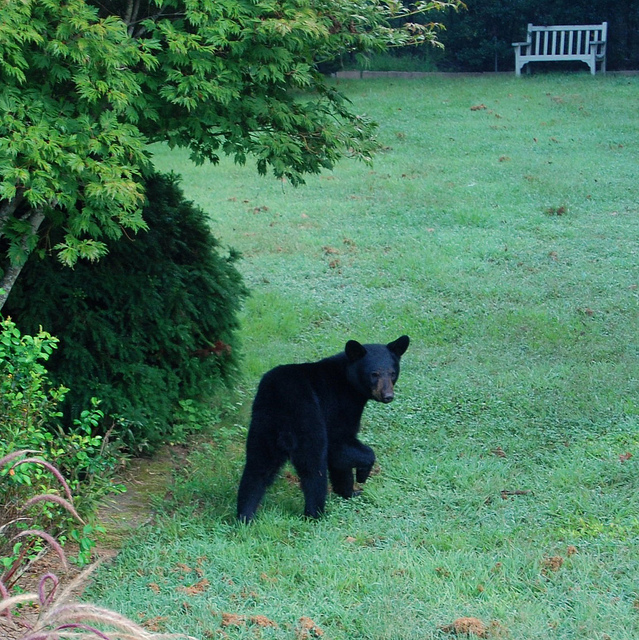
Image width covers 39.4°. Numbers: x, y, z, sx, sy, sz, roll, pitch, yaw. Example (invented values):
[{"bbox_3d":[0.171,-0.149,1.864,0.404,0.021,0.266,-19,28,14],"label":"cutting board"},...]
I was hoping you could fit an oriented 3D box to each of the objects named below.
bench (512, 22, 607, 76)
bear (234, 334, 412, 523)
[{"bbox_3d":[6.607,-7.359,24.409,2.538,1.092,0.894,4,18,17],"label":"bench"},{"bbox_3d":[-0.012,0.770,6.383,0.800,1.207,1.290,12,16,38],"label":"bear"}]
